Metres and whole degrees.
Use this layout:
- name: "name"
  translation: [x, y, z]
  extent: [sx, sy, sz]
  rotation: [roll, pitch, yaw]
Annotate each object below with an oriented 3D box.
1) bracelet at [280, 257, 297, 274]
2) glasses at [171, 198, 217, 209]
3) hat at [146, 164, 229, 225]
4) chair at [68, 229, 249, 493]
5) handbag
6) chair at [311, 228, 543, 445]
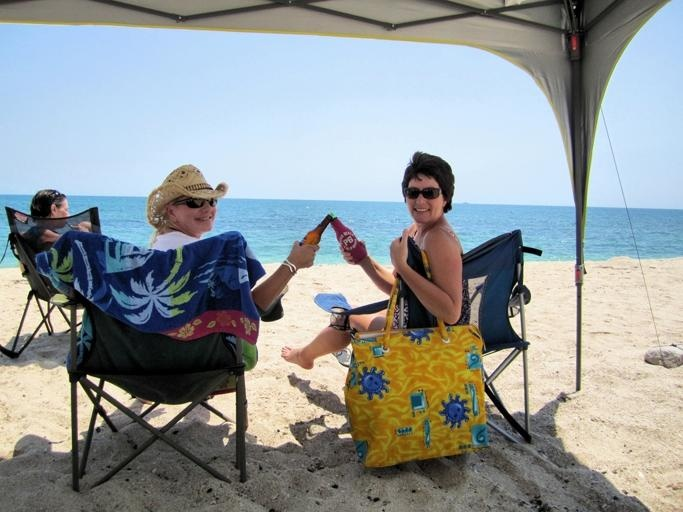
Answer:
- name: "bracelet"
  translation: [-0.330, 0.064, 3.624]
  extent: [0.097, 0.037, 0.068]
  rotation: [36, 11, -19]
- name: "glasses"
  translation: [-0.957, -0.350, 3.894]
  extent: [0.275, 0.072, 0.081]
  rotation: [-4, 8, -22]
- name: "hat"
  translation: [-1.038, -0.464, 4.005]
  extent: [0.495, 0.249, 0.561]
  rotation: [-12, 0, -37]
- name: "chair"
  translation: [-1.177, 0.732, 4.053]
  extent: [1.259, 1.487, 1.218]
  rotation: [2, -10, -24]
- name: "handbag"
  translation: [0.493, 0.907, 3.810]
  extent: [0.910, 0.864, 0.378]
  rotation: [-3, -4, -10]
- name: "chair"
  translation: [0.837, 0.645, 4.630]
  extent: [1.634, 1.439, 1.146]
  rotation: [-4, -12, 26]
